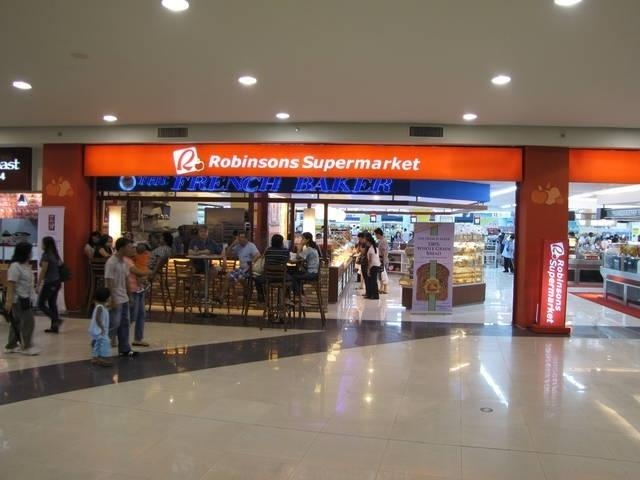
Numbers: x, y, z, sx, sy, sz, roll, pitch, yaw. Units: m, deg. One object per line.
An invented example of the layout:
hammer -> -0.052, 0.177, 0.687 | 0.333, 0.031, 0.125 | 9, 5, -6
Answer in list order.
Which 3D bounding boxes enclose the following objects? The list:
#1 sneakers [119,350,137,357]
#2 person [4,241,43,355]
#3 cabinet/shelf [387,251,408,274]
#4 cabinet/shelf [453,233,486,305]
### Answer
sneakers -> -2.712, 1.608, 6.786 | 0.238, 0.102, 0.087 | 0, 4, -10
person -> -4.232, 0.830, 6.744 | 0.370, 1.580, 0.424 | -2, 5, -34
cabinet/shelf -> 2.729, 0.781, 16.875 | 0.947, 0.789, 0.320 | -2, -5, 35
cabinet/shelf -> 3.363, 0.692, 11.033 | 1.301, 1.634, 0.440 | -4, 6, -44
